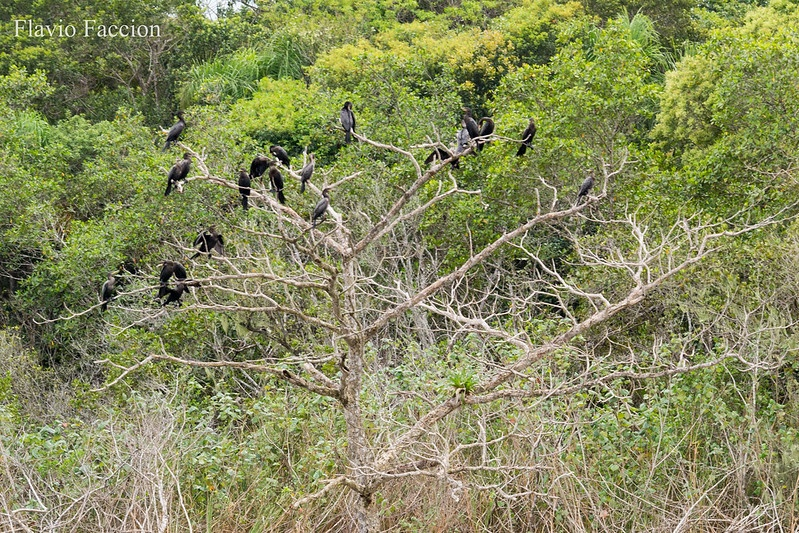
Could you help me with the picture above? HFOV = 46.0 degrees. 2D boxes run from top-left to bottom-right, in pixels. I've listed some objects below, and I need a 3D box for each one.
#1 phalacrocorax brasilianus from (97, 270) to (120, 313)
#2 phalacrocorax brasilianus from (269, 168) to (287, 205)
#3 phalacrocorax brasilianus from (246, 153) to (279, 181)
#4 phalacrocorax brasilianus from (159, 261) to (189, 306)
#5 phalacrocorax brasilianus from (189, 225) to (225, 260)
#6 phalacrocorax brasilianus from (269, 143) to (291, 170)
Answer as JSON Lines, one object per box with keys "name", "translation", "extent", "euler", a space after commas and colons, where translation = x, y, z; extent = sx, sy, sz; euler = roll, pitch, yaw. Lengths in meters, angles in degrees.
{"name": "phalacrocorax brasilianus", "translation": [-4.672, 0.410, 15.137], "extent": [0.219, 0.399, 0.679], "euler": [-6, -23, -44]}
{"name": "phalacrocorax brasilianus", "translation": [-1.904, -1.266, 14.659], "extent": [0.271, 0.215, 0.682], "euler": [10, 36, -10]}
{"name": "phalacrocorax brasilianus", "translation": [-2.151, -1.547, 14.845], "extent": [0.417, 0.340, 0.565], "euler": [-8, 9, -8]}
{"name": "phalacrocorax brasilianus", "translation": [-3.660, 0.234, 14.960], "extent": [0.517, 0.609, 0.361], "euler": [-8, 15, 16]}
{"name": "phalacrocorax brasilianus", "translation": [-3.379, -0.389, 16.605], "extent": [0.541, 0.303, 0.468], "euler": [-32, -37, 27]}
{"name": "phalacrocorax brasilianus", "translation": [-1.878, -1.755, 14.963], "extent": [0.217, 0.189, 0.535], "euler": [3, 0, 15]}
